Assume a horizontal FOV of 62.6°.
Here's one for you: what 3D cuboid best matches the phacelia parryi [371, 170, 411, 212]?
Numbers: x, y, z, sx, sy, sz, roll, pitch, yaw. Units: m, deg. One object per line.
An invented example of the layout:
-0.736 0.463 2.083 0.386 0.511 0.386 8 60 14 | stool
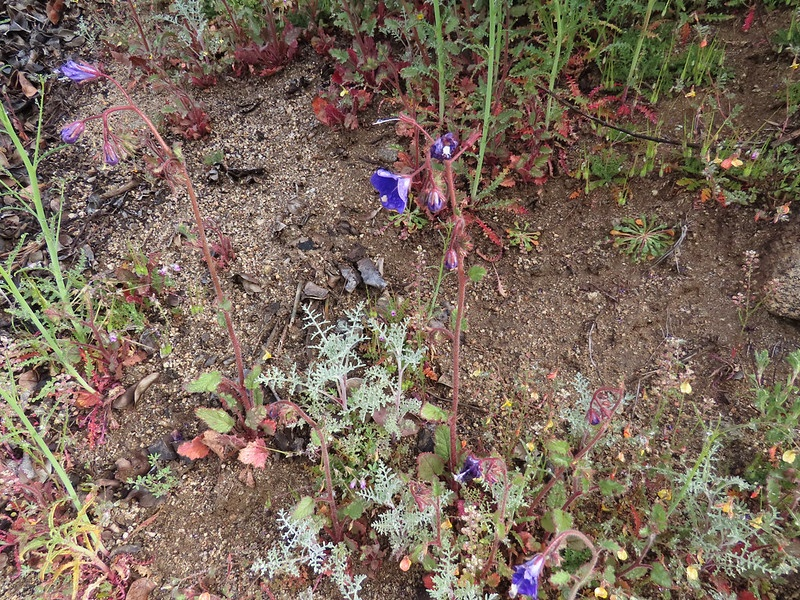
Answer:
-0.039 -0.562 3.314 0.076 0.194 0.218 -38 100 -42 | phacelia parryi
